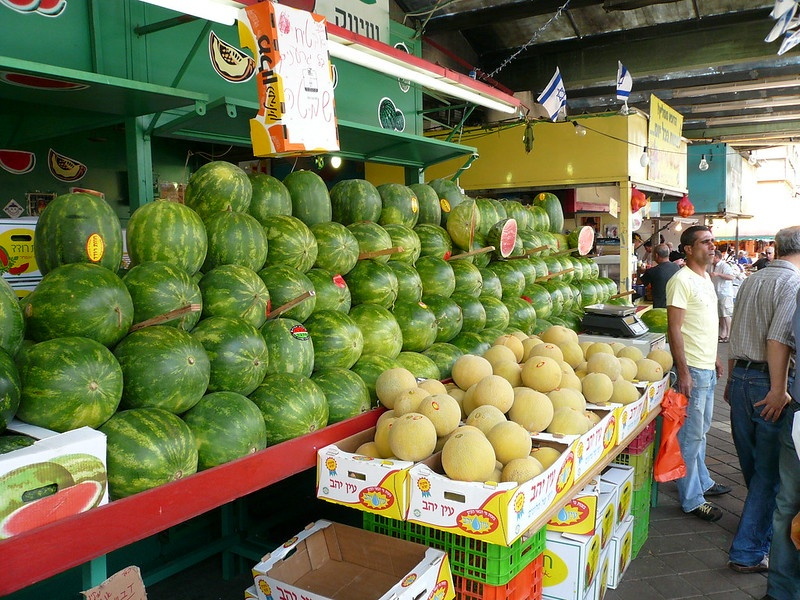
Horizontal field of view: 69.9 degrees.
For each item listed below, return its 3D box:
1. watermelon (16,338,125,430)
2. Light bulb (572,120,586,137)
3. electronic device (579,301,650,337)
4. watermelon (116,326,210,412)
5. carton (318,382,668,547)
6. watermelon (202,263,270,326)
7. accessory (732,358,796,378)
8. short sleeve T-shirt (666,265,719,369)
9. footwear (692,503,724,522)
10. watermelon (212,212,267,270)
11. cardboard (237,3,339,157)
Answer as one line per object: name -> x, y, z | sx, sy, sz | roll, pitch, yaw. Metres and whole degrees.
watermelon -> -1.309, 0.339, 2.253 | 0.280, 0.242, 0.229 | -1, 29, 20
Light bulb -> 2.699, -2.579, 8.593 | 0.199, 0.233, 0.265 | 4, 11, 11
electronic device -> 1.936, 0.177, 5.285 | 0.427, 0.205, 0.319 | -2, -1, 44
watermelon -> -1.056, 0.319, 2.559 | 0.383, 0.375, 0.182 | -4, 13, -29
carton -> 0.445, 0.850, 3.027 | 1.091, 0.307, 2.057 | 1, 5, 36
watermelon -> -0.858, 0.004, 3.058 | 0.373, 0.336, 0.305 | 9, -16, -37
accessory -> 2.660, 0.485, 4.195 | 0.223, 0.063, 0.210 | 3, 2, 3
short sleeve T-shirt -> 2.398, 0.156, 4.685 | 0.509, 0.834, 0.172 | 0, 11, -10
footwear -> 2.581, 1.780, 4.785 | 0.093, 0.107, 0.259 | -1, -11, -31
watermelon -> -0.916, -0.326, 3.249 | 0.242, 0.334, 0.345 | 7, 12, 24
cardboard -> -0.662, -1.322, 3.466 | 0.589, 0.886, 0.429 | -2, 12, -19
